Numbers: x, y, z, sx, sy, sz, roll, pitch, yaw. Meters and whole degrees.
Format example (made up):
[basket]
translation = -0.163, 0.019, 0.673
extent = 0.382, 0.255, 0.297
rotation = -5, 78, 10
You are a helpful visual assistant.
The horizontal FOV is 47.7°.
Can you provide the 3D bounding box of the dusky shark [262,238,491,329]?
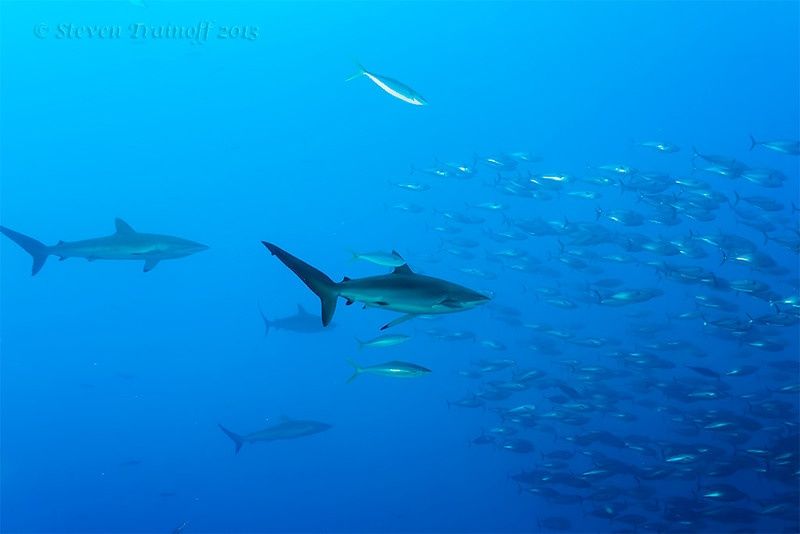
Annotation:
[dusky shark]
translation = -0.399, 0.452, 16.603
extent = 1.452, 0.939, 5.050
rotation = 3, -3, 44
